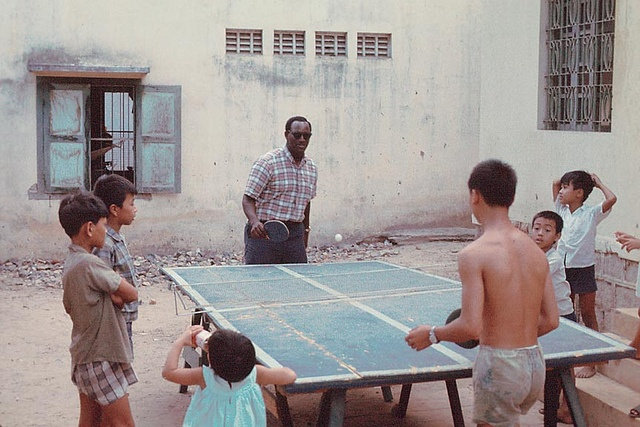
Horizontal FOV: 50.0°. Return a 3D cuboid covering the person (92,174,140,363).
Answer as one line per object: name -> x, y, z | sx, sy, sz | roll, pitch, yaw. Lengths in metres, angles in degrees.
person -> -1.794, 0.664, 6.182 | 0.398, 2.007, 0.611 | -5, 16, -20

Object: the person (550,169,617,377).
person -> 2.957, 0.648, 7.695 | 0.697, 2.169, 0.649 | -1, 0, 17

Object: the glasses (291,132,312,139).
glasses -> -0.187, -0.891, 7.887 | 0.254, 0.084, 0.110 | -9, 15, -40

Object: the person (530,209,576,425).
person -> 2.405, 0.997, 6.943 | 0.549, 2.233, 0.519 | -2, -2, 38

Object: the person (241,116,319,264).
person -> -0.421, -0.249, 7.868 | 0.903, 1.666, 0.531 | -4, 13, -24
